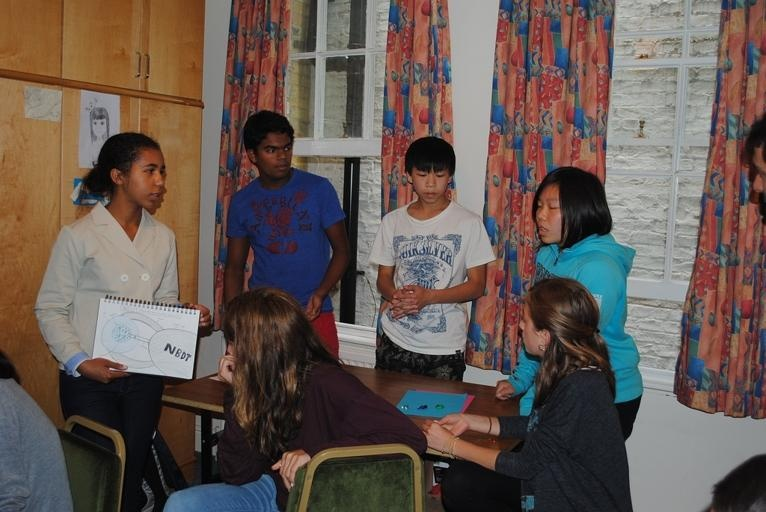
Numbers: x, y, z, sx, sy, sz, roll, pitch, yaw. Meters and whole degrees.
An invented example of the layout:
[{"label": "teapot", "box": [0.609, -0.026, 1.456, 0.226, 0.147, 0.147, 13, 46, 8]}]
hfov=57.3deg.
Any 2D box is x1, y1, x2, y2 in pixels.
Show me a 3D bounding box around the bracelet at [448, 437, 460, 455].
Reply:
[{"label": "bracelet", "box": [0.313, 0.859, 3.157, 0.028, 0.053, 0.071, 0, 44, -6]}]
